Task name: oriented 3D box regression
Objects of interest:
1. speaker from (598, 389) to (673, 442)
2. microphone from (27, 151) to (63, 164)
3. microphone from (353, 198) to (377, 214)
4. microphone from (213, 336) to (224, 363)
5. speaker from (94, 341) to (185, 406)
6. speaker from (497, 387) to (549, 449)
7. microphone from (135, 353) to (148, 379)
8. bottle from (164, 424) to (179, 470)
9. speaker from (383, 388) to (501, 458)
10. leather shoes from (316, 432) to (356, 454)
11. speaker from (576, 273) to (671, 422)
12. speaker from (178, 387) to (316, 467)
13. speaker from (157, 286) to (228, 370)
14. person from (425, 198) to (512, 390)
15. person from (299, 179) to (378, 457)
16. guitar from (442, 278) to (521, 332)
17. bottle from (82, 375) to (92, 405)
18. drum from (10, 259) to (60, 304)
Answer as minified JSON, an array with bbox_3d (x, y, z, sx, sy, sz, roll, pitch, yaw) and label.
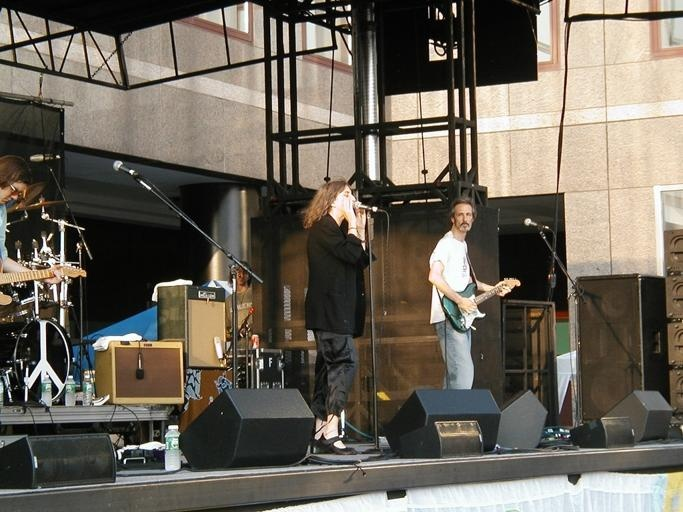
[{"bbox_3d":[2.630,1.413,12.428,0.496,0.462,0.485,-4,-6,44],"label":"speaker"},{"bbox_3d":[-3.236,-1.073,15.209,0.392,0.103,0.108,-6,-13,-25],"label":"microphone"},{"bbox_3d":[0.223,-0.396,11.941,0.366,0.078,0.108,11,26,-52],"label":"microphone"},{"bbox_3d":[-1.256,0.962,14.199,0.074,0.291,0.066,-10,4,-26],"label":"microphone"},{"bbox_3d":[-1.972,1.148,13.525,0.852,0.633,0.360,-2,-4,-11],"label":"speaker"},{"bbox_3d":[1.539,1.398,11.732,0.458,0.484,0.215,0,-5,-31],"label":"speaker"},{"bbox_3d":[-1.965,1.083,13.481,0.086,0.268,0.067,-2,-4,-11],"label":"microphone"},{"bbox_3d":[-1.322,1.513,10.821,0.127,0.346,0.388,-2,-4,-8],"label":"bottle"},{"bbox_3d":[0.865,1.369,11.285,0.748,0.567,0.836,5,0,-29],"label":"speaker"},{"bbox_3d":[-0.056,1.566,11.451,0.348,0.146,0.140,-6,-12,30],"label":"leather shoes"},{"bbox_3d":[2.990,0.986,14.754,0.890,1.548,0.824,-1,2,40],"label":"speaker"},{"bbox_3d":[-0.727,1.368,10.936,0.826,0.600,0.793,5,-6,-44],"label":"speaker"},{"bbox_3d":[-1.525,0.690,14.212,0.503,0.946,0.561,0,1,27],"label":"speaker"},{"bbox_3d":[1.121,0.374,12.899,0.629,1.810,0.512,1,-4,-25],"label":"person"},{"bbox_3d":[-0.010,0.515,11.808,0.650,2.333,0.711,1,-6,-4],"label":"person"},{"bbox_3d":[1.323,0.486,13.309,0.516,0.514,1.111,-4,-5,18],"label":"guitar"},{"bbox_3d":[-2.410,1.279,13.165,0.095,0.287,0.242,-2,-4,-13],"label":"bottle"},{"bbox_3d":[-3.017,0.219,13.397,0.264,0.339,0.290,4,1,0],"label":"drum"}]
